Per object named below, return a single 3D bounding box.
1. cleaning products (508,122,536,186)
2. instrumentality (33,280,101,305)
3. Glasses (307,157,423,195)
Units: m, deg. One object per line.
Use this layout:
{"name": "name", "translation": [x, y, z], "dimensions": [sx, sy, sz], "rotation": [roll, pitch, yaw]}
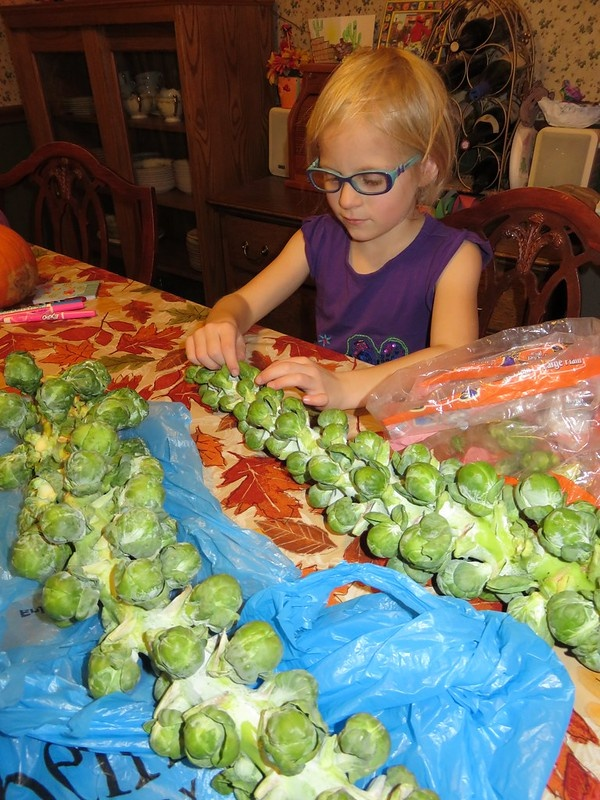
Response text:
{"name": "cleaning products", "translation": [0.577, -0.642, 1.561], "dimensions": [0.056, 0.131, 0.120], "rotation": [10, 3, 8]}
{"name": "instrumentality", "translation": [-0.451, -0.208, 1.145], "dimensions": [0.085, 0.019, 0.080], "rotation": [-4, 36, 9]}
{"name": "Glasses", "translation": [0.104, -0.386, 1.035], "dimensions": [0.194, 0.063, 0.179], "rotation": [5, 23, 10]}
